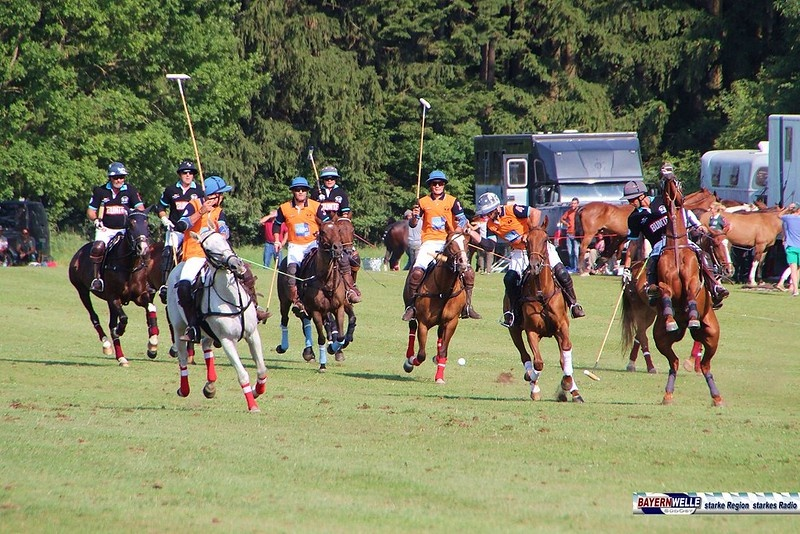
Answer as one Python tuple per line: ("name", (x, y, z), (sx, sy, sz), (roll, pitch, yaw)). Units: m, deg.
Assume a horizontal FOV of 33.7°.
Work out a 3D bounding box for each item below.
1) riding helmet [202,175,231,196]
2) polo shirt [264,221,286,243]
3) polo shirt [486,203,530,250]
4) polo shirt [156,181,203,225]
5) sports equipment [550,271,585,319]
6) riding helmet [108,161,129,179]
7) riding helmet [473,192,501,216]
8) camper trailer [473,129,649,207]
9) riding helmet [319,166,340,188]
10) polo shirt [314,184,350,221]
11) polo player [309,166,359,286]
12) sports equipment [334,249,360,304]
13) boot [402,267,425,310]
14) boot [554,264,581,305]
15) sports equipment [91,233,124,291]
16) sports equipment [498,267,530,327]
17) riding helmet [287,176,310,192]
("riding helmet", (-4.429, -1.940, 32.112), (0.609, 0.330, 0.486), (-12, 13, -2))
("polo shirt", (-3.725, -1.092, 39.606), (0.660, 0.937, 0.522), (-3, -5, 4))
("polo shirt", (2.817, -1.079, 33.250), (0.922, 1.152, 0.418), (-28, -8, 13))
("polo shirt", (-5.731, -1.618, 35.046), (1.341, 1.417, 0.812), (5, 4, -15))
("sports equipment", (4.227, 0.603, 32.540), (0.461, 1.650, 0.537), (-21, 20, -3))
("riding helmet", (-7.656, -2.648, 35.622), (0.541, 0.292, 0.389), (0, 2, 39))
("riding helmet", (2.269, -1.660, 34.389), (0.636, 0.449, 0.840), (-25, 0, 0))
("camper trailer", (6.710, -3.507, 55.406), (5.572, 4.190, 8.065), (-3, 6, -23))
("riding helmet", (-2.008, -2.606, 37.690), (0.574, 0.620, 0.683), (1, 2, -6))
("polo shirt", (-1.921, -1.833, 37.542), (1.136, 1.076, 0.655), (5, -19, 12))
("polo player", (-1.863, -0.982, 36.980), (1.521, 4.484, 2.245), (-4, -15, 4))
("sports equipment", (-1.370, 0.226, 35.486), (0.528, 1.549, 1.432), (-1, 4, -2))
("boot", (0.342, 0.456, 35.328), (0.396, 0.855, 1.572), (20, 18, 2))
("boot", (4.022, 0.140, 32.861), (0.351, 0.479, 1.536), (-10, 8, 5))
("sports equipment", (-7.784, -0.107, 35.383), (0.358, 1.454, 0.920), (12, -8, -40))
("sports equipment", (2.794, 0.748, 32.779), (0.383, 1.587, 1.014), (0, -7, 0))
("riding helmet", (-2.732, -2.322, 36.209), (0.541, 0.298, 0.674), (1, -3, -6))
